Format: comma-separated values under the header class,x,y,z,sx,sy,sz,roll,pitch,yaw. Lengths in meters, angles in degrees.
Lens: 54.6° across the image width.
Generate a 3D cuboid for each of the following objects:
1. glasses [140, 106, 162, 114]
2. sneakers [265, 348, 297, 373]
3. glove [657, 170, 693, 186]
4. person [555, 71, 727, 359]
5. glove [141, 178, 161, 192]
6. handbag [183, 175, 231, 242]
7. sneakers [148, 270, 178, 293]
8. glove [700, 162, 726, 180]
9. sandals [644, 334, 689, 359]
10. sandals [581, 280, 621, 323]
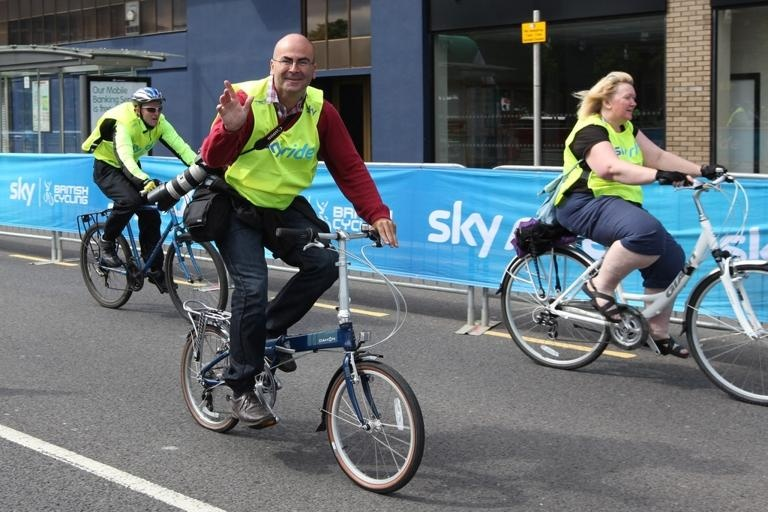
class,x,y,z,sx,sy,sz,roll,pitch,yaw
glasses,-2.687,-1.712,8.672,0.125,0.060,0.262,6,13,25
sneakers,-0.698,0.732,5.169,0.189,0.165,0.141,-9,3,6
glove,2.263,-0.631,5.805,0.158,0.069,0.194,6,5,-23
person,2.055,-0.338,6.406,1.197,2.445,0.936,4,13,21
glove,-2.465,-0.776,7.876,0.191,0.183,0.062,-23,-49,39
handbag,-1.165,-0.349,5.108,0.286,0.461,0.348,11,-9,-34
sneakers,-2.567,0.297,8.578,0.185,0.194,0.469,-14,11,-39
glove,2.729,-0.701,6.117,0.138,0.084,0.188,0,1,34
sandals,2.372,0.776,6.411,0.484,0.145,0.171,1,1,28
sandals,1.892,0.406,6.460,0.172,0.426,0.138,-42,-9,1
